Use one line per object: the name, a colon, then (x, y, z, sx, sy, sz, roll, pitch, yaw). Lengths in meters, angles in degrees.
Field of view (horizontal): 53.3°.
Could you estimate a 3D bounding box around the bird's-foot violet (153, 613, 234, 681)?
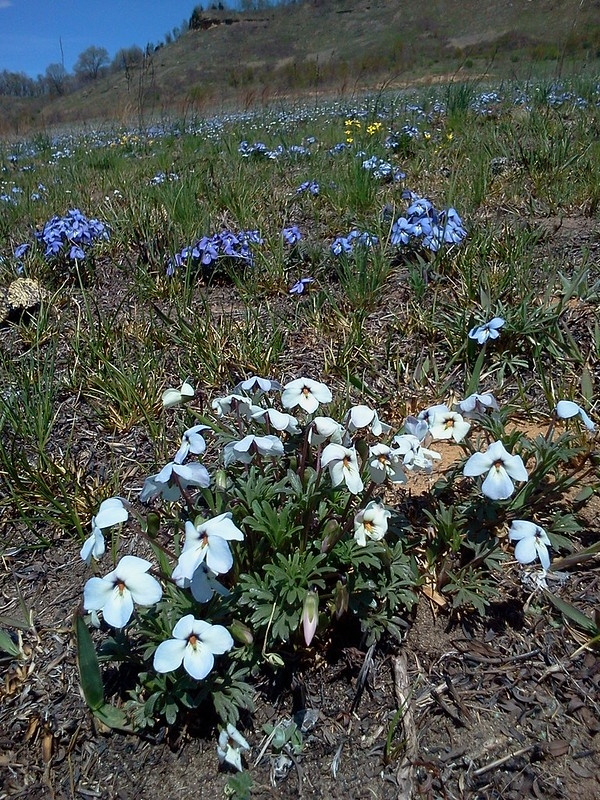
bird's-foot violet: (-0.283, 0.649, 1.563, 0.122, 0.124, 0.184, 21, 39, 38)
